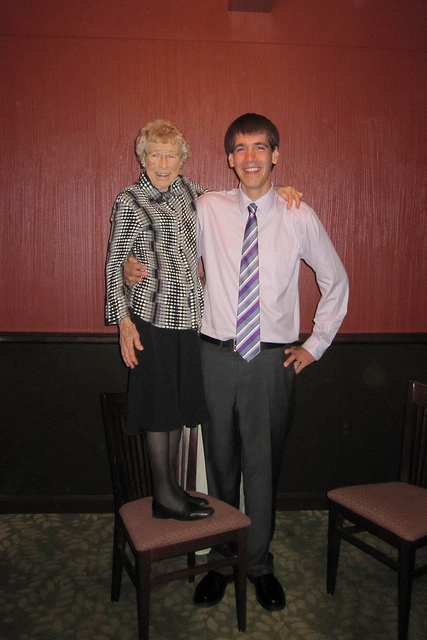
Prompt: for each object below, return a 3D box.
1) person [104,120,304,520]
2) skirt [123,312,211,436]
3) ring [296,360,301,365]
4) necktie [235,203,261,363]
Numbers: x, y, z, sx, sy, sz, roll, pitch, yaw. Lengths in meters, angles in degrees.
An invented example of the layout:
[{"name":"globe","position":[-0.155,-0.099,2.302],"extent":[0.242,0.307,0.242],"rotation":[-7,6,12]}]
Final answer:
[{"name":"person","position":[-0.205,-0.028,1.899],"extent":[0.376,1.419,0.427],"rotation":[0,5,-8]},{"name":"skirt","position":[-0.161,0.185,1.849],"extent":[0.342,0.428,0.124],"rotation":[-3,6,-38]},{"name":"ring","position":[0.345,0.168,2.043],"extent":[0.014,0.016,0.004],"rotation":[-2,5,-24]},{"name":"necktie","position":[0.138,-0.150,1.980],"extent":[0.096,0.617,0.105],"rotation":[1,5,-1]}]
